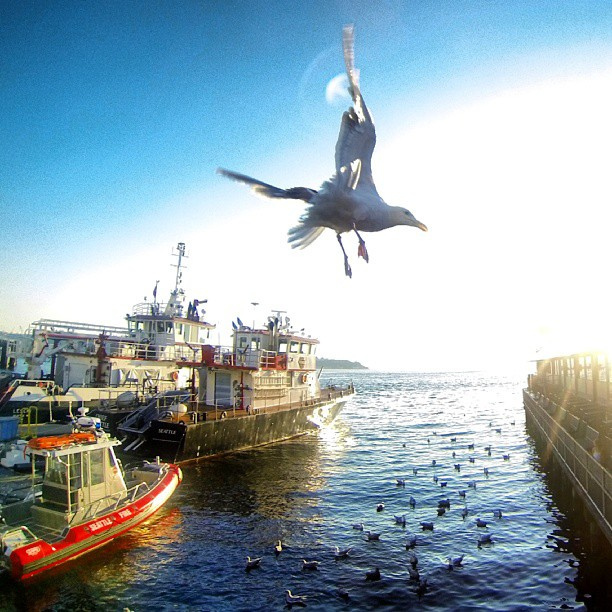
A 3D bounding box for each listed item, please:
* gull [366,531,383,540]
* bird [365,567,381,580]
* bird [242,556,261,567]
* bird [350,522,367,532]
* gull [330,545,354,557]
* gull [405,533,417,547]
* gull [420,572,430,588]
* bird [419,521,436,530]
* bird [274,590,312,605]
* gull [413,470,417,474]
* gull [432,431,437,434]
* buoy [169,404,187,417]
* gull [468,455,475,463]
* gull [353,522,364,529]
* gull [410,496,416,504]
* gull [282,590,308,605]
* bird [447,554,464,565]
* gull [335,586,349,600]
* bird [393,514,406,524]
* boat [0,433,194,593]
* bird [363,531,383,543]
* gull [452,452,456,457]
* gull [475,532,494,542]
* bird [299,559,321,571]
[{"bbox_3d":[2.071,6.906,14.811,0.396,0.156,0.597,0,-6,8],"label":"gull"},{"bbox_3d":[1.694,6.717,12.318,0.440,0.198,0.249,2,-6,-7],"label":"bird"},{"bbox_3d":[-1.428,6.777,13.134,0.463,0.217,0.685,2,-6,-7],"label":"bird"},{"bbox_3d":[1.639,7.011,15.546,0.413,0.263,0.233,11,-4,19],"label":"bird"},{"bbox_3d":[0.970,6.841,13.772,0.586,0.171,0.814,0,-6,12],"label":"gull"},{"bbox_3d":[3.062,6.838,14.313,0.194,0.225,0.595,1,-11,12],"label":"gull"},{"bbox_3d":[2.877,6.723,11.965,0.134,0.272,0.467,4,6,15],"label":"gull"},{"bbox_3d":[3.767,6.942,15.517,0.469,0.144,0.195,-5,-9,43],"label":"bird"},{"bbox_3d":[-0.262,6.772,11.457,0.924,0.122,0.490,-3,-7,33],"label":"bird"},{"bbox_3d":[5.056,7.704,22.810,0.138,0.122,0.133,-1,-2,13],"label":"gull"},{"bbox_3d":[9.200,9.102,35.239,0.283,0.265,0.083,-5,-18,14],"label":"gull"},{"bbox_3d":[-5.860,4.916,22.983,0.540,0.603,0.799,-5,-9,41],"label":"buoy"},{"bbox_3d":[8.616,7.996,25.509,0.210,0.350,0.206,-2,1,4],"label":"gull"},{"bbox_3d":[1.655,6.962,15.520,0.324,0.246,0.204,1,-3,18],"label":"gull"},{"bbox_3d":[3.947,7.207,18.193,0.216,0.257,0.646,-4,-9,11],"label":"gull"},{"bbox_3d":[-0.310,6.772,11.411,0.628,0.132,0.458,-2,-7,29],"label":"gull"},{"bbox_3d":[3.987,6.741,13.008,0.578,0.205,0.230,5,-8,-33],"label":"bird"},{"bbox_3d":[0.889,6.736,11.574,0.294,0.150,0.447,4,-7,-27],"label":"gull"},{"bbox_3d":[3.094,6.947,15.987,0.284,0.183,0.200,4,-5,-18],"label":"bird"},{"bbox_3d":[-6.140,5.421,14.252,2.630,2.353,5.353,-3,-5,25],"label":"boat"},{"bbox_3d":[2.022,6.922,14.710,0.448,0.419,0.166,-4,-17,-4],"label":"bird"},{"bbox_3d":[8.028,8.086,26.740,0.108,0.340,0.142,12,7,28],"label":"gull"},{"bbox_3d":[5.285,6.871,14.677,0.453,0.187,0.668,-1,-6,17],"label":"gull"},{"bbox_3d":[0.127,6.806,13.052,0.539,0.146,0.629,2,-6,-11],"label":"bird"}]
